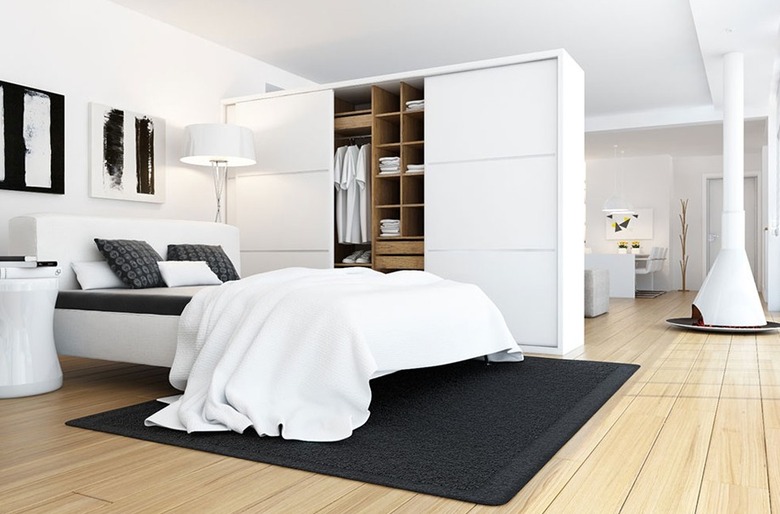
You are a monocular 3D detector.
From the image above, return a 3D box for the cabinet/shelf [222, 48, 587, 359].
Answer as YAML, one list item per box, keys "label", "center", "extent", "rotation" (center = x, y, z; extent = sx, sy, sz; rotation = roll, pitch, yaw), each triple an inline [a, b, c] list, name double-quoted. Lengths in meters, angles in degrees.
- label: "cabinet/shelf"
  center: [0.008, -0.568, 5.863]
  extent: [4.203, 2.779, 1.098]
  rotation: [2, 6, 32]

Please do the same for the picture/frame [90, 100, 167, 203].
- label: "picture/frame"
  center: [-2.698, -1.055, 5.143]
  extent: [0.045, 0.907, 0.753]
  rotation: [1, 3, 37]

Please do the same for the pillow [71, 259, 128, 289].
- label: "pillow"
  center: [-2.453, 0.166, 4.199]
  extent: [0.283, 0.086, 0.315]
  rotation: [8, 31, -44]

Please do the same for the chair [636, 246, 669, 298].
- label: "chair"
  center: [5.609, 0.327, 10.996]
  extent: [0.803, 0.916, 1.394]
  rotation: [-1, 0, 42]
